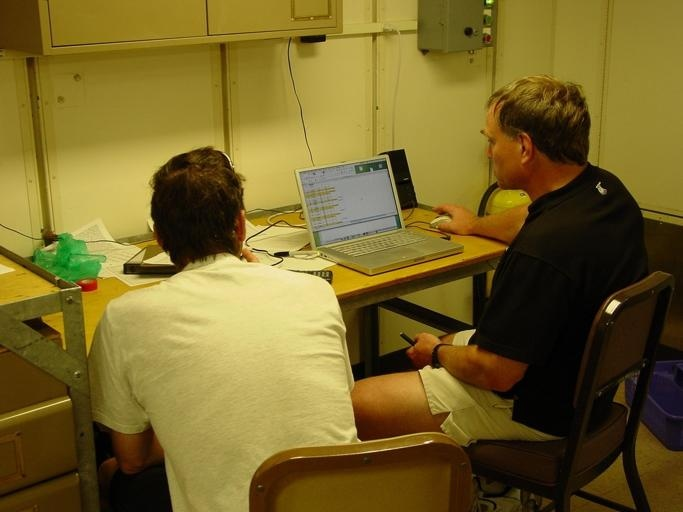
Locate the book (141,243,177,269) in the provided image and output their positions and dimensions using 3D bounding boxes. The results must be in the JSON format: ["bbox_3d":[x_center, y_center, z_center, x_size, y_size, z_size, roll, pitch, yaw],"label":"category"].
[{"bbox_3d":[-0.708,0.008,2.228,0.119,0.047,0.182,-7,16,-16],"label":"book"}]

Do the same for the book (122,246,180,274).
[{"bbox_3d":[-0.731,0.026,2.239,0.169,0.080,0.238,0,6,1],"label":"book"}]

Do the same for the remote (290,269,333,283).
[{"bbox_3d":[-0.095,0.062,2.154,0.123,0.023,0.061,6,13,21],"label":"remote"}]

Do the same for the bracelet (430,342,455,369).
[{"bbox_3d":[0.320,0.325,1.862,0.027,0.080,0.075,11,-19,23],"label":"bracelet"}]

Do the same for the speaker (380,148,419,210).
[{"bbox_3d":[0.366,-0.396,2.891,0.175,0.265,0.179,-8,6,31],"label":"speaker"}]
